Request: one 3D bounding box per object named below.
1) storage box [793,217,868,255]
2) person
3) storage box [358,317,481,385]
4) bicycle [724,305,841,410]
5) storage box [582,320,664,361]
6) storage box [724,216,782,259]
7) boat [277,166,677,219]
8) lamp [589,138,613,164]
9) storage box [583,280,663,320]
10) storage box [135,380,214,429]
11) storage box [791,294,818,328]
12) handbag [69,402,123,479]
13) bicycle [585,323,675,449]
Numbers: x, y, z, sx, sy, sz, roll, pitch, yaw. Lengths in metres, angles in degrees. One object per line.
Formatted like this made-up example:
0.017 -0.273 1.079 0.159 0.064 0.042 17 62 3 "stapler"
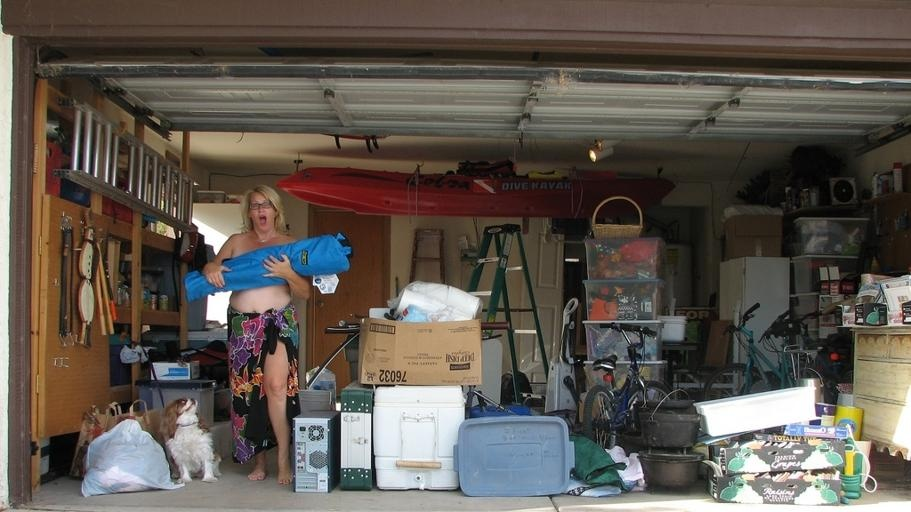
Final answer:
4.362 -0.196 11.632 0.530 0.305 0.523 0 -4 21 "storage box"
-1.774 0.693 8.933 0.878 2.621 0.567 2 -9 -13 "person"
-0.339 0.843 8.943 1.148 0.521 0.576 1 -9 -1 "storage box"
3.718 1.044 10.619 1.510 0.857 0.754 0 -7 3 "bicycle"
1.653 0.831 9.873 0.639 0.302 0.418 0 -6 6 "storage box"
3.705 -0.266 12.379 0.592 0.403 0.561 1 -6 -7 "storage box"
0.215 -0.822 12.871 4.203 0.552 0.850 2 0 -2 "boat"
1.718 -1.264 11.816 0.324 0.193 0.336 -10 -19 -12 "lamp"
1.659 0.445 9.984 0.640 0.288 0.416 -1 -5 10 "storage box"
-2.725 1.313 9.716 0.857 0.508 0.467 0 4 -3 "storage box"
4.019 0.625 11.457 0.213 0.341 0.378 1 -3 -13 "storage box"
-3.217 1.648 8.965 0.411 0.657 0.444 5 -10 -27 "handbag"
1.653 1.207 9.478 0.768 1.198 0.884 2 -9 -13 "bicycle"
